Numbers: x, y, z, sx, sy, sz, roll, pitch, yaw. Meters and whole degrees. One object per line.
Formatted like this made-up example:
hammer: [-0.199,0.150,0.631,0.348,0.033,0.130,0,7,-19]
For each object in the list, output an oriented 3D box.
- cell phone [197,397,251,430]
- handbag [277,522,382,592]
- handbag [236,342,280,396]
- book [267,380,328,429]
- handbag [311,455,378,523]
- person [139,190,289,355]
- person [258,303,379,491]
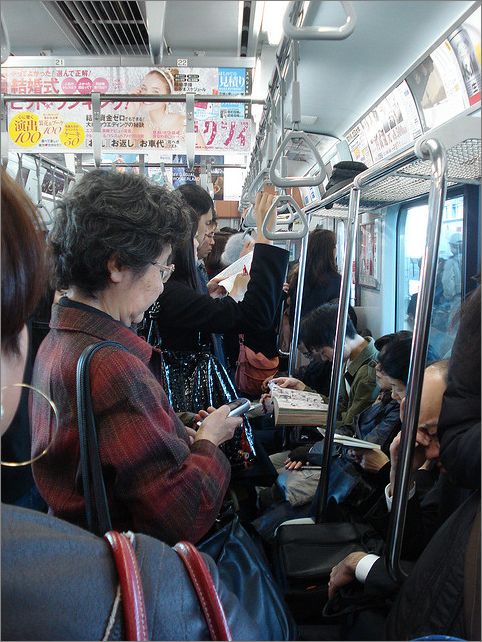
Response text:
cell phone: [-0.027,0.210,1.080,0.067,0.034,0.137,5,19,34]
handbag: [0.234,0.694,1.282,0.201,0.074,0.167,-2,26,-6]
handbag: [0.090,0.277,2.539,0.268,0.393,0.172,0,21,-9]
book: [0.229,0.321,1.667,0.251,0.070,0.263,-2,14,-21]
handbag: [0.338,0.603,1.600,0.104,0.304,0.221,-22,-27,-3]
person: [-0.062,-0.167,1.812,0.532,0.812,0.580,1,25,13]
person: [0.502,0.458,2.395,0.608,1.089,0.444,2,-4,0]
